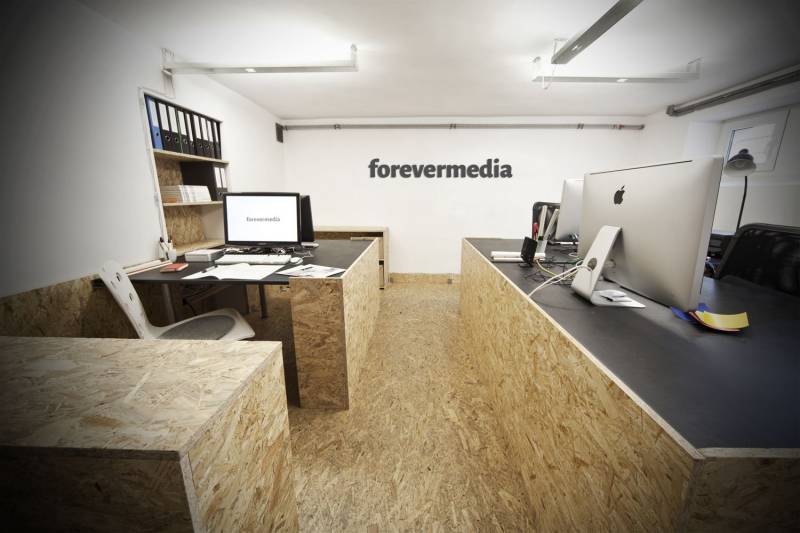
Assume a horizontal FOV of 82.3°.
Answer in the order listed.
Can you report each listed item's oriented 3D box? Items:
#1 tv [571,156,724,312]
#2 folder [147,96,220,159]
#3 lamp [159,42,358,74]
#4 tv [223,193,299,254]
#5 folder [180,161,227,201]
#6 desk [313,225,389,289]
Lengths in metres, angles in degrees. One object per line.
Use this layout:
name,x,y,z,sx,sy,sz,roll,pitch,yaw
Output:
tv,1.521,-0.172,2.853,0.331,0.918,0.995,-6,16,-19
folder,-1.999,-1.284,4.229,0.095,0.509,0.736,7,14,22
lamp,-1.232,-1.857,4.142,1.707,0.276,0.463,2,13,2
tv,-1.213,-0.401,4.028,0.539,0.392,0.071,0,2,-1
folder,-1.933,-0.826,4.468,0.468,0.453,0.252,0,12,-4
desk,-0.470,-0.093,4.586,0.802,0.721,0.340,-1,12,-1
